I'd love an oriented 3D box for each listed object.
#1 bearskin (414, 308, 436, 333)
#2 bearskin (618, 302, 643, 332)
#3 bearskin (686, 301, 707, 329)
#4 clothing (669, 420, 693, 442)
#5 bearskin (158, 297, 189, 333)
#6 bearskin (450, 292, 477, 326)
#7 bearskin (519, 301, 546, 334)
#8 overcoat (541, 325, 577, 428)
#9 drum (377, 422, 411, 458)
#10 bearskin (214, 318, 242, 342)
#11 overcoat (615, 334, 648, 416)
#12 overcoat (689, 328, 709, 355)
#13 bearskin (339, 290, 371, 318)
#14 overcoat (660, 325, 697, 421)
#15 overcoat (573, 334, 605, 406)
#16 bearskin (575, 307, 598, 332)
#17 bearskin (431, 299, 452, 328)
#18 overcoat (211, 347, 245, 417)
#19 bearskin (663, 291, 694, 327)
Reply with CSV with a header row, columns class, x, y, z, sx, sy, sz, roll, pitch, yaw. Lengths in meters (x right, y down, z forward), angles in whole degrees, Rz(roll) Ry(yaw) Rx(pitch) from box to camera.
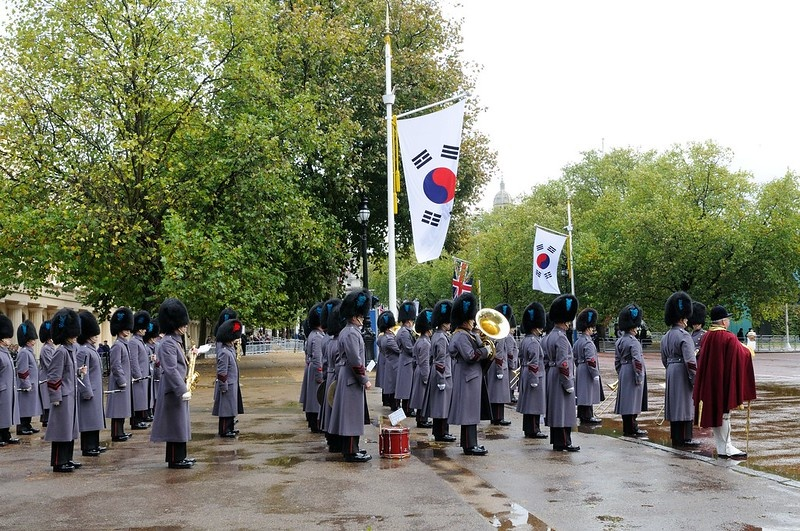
class,x,y,z,sx,sy,sz,roll,pitch,yaw
bearskin,0.681,1.525,27.727,0.474,0.628,0.608,3,7,-41
bearskin,6.211,1.398,27.115,0.605,0.727,0.514,-4,-7,10
bearskin,8.007,1.326,26.982,0.610,0.732,0.855,1,-11,11
clothing,7.146,4.216,25.387,0.569,0.587,0.359,-4,-7,14
bearskin,-5.513,1.078,24.222,0.708,0.770,0.981,-5,8,-2
bearskin,1.605,0.963,25.568,0.943,0.511,1.450,-4,6,2
bearskin,3.402,1.388,27.000,0.782,1.148,0.870,-2,-3,29
overcoat,3.986,2.797,25.344,0.786,2.537,0.833,-3,-7,7
drum,-0.117,4.252,24.385,0.728,0.643,0.707,0,1,-20
bearskin,-4.637,1.735,26.878,0.654,0.660,0.426,-1,-7,-11
overcoat,6.138,2.890,26.961,0.814,2.196,0.668,-4,-7,12
overcoat,8.089,2.020,27.549,0.375,0.825,0.648,4,-5,-31
bearskin,-1.118,0.920,24.569,0.711,0.726,0.400,-2,-7,-3
overcoat,7.090,2.732,25.536,0.875,2.435,0.861,-6,-8,27
overcoat,5.182,2.940,27.900,0.989,1.804,0.986,-3,-3,-16
bearskin,5.114,1.467,27.504,0.725,0.672,0.507,-4,6,-5
bearskin,1.078,1.234,25.919,0.732,0.742,0.447,-7,-8,31
overcoat,-4.719,3.065,26.910,0.622,1.977,0.800,-5,-7,19
bearskin,7.178,1.114,25.906,0.672,0.891,0.381,-5,-7,16
